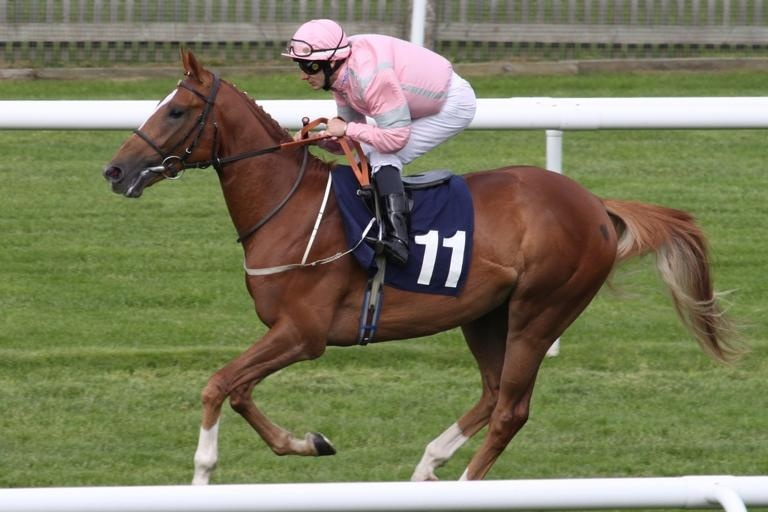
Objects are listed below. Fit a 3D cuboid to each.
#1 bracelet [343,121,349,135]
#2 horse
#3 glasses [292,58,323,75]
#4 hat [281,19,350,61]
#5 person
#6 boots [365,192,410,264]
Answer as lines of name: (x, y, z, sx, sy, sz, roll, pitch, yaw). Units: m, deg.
bracelet: (-0.212, -0.680, 8.703, 0.020, 0.056, 0.045, -2, 10, -9)
horse: (0.122, 0.224, 9.208, 4.553, 2.257, 0.914, 1, 1, -38)
glasses: (-0.402, -1.022, 8.721, 0.099, 0.105, 0.053, 1, 29, 38)
hat: (-0.376, -1.170, 8.744, 0.343, 0.130, 0.227, 2, 13, -1)
person: (-0.009, -0.655, 8.911, 0.721, 1.280, 0.770, 7, 13, 33)
boots: (0.040, -0.149, 8.656, 0.180, 0.371, 0.134, -1, 11, 0)
